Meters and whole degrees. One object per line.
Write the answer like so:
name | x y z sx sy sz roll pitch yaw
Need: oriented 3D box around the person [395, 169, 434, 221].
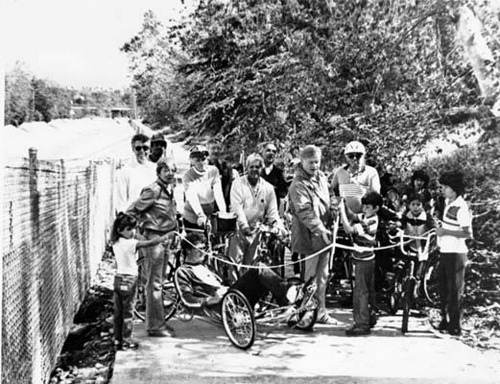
person | 2.639 0.169 7.469 0.501 1.085 0.327 6 5 25

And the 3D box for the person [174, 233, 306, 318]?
person | -0.199 1.038 6.204 1.649 1.016 0.835 -5 5 28

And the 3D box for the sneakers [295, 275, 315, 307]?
sneakers | 0.695 1.227 5.796 0.265 0.336 0.124 -4 5 -44

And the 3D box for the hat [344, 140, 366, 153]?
hat | 1.587 -0.674 7.201 0.265 0.196 0.341 -1 3 4

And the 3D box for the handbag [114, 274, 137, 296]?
handbag | -1.446 1.048 5.536 0.265 0.224 0.190 7 -19 -6

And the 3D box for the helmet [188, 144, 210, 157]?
helmet | -0.804 -0.652 7.505 0.275 0.195 0.293 1 4 24

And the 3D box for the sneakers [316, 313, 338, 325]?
sneakers | 1.093 1.791 6.742 0.262 0.132 0.146 -3 5 5

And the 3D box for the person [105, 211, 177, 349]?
person | -1.365 1.072 5.696 0.546 1.648 0.362 -2 4 -23

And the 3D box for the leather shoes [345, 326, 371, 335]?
leather shoes | 1.404 1.829 6.198 0.321 0.154 0.126 3 -3 -2
